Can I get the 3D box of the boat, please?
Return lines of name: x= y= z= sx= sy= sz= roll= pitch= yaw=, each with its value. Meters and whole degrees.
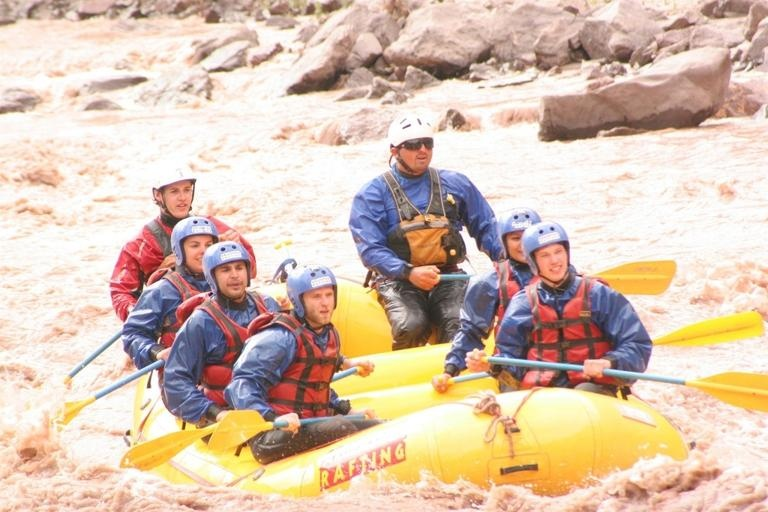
boat: x=0.023 y=1.529 z=14.382 sx=6.202 sy=1.741 sz=2.893 roll=-7 pitch=17 yaw=-5

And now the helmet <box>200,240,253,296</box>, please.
helmet: x=-1.769 y=0.108 z=14.156 sx=0.495 sy=0.495 sz=0.636 roll=0 pitch=-5 yaw=-22

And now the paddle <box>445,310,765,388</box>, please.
paddle: x=2.783 y=1.104 z=14.138 sx=3.060 sy=0.419 sz=0.221 roll=-13 pitch=-16 yaw=0

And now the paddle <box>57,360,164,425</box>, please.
paddle: x=-3.402 y=1.726 z=15.479 sx=1.655 sy=0.208 sz=0.194 roll=-26 pitch=-20 yaw=-24

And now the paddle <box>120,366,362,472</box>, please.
paddle: x=-1.507 y=1.839 z=13.909 sx=3.500 sy=0.488 sz=0.175 roll=-15 pitch=-26 yaw=-7
